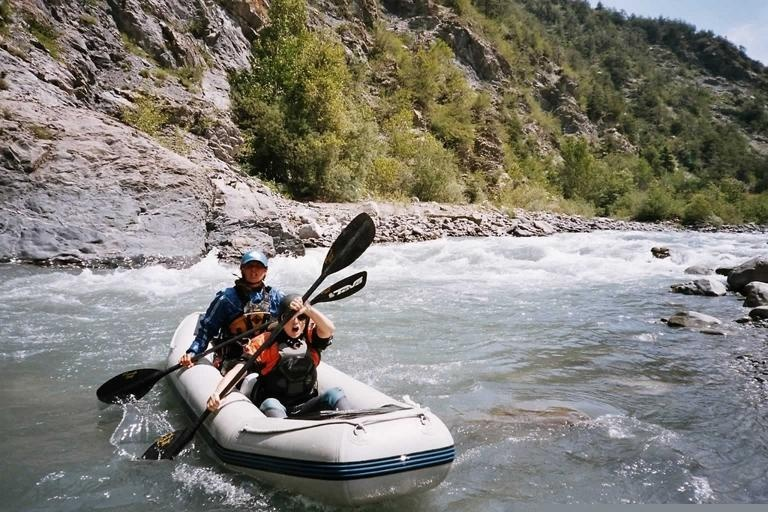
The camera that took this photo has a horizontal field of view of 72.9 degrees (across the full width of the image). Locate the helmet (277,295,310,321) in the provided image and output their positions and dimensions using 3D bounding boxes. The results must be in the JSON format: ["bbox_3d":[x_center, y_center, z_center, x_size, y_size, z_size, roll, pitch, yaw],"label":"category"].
[{"bbox_3d":[-1.005,0.606,5.812,0.279,0.341,0.272,9,41,-19],"label":"helmet"}]

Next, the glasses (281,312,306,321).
[{"bbox_3d":[-1.014,0.655,5.670,0.164,0.042,0.151,-8,-11,12],"label":"glasses"}]

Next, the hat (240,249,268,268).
[{"bbox_3d":[-1.523,0.019,6.224,0.252,0.149,0.316,5,-15,-7],"label":"hat"}]
